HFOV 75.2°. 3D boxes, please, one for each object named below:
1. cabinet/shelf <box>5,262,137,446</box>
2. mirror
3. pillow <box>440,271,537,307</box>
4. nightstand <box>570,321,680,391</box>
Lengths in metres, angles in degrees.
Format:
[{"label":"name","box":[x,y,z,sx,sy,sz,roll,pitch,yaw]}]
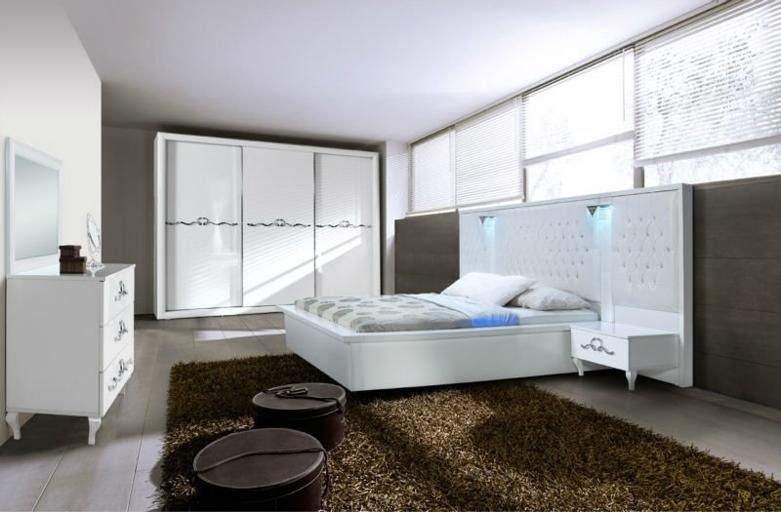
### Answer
[{"label":"cabinet/shelf","box":[-2.196,0.628,3.473,0.643,1.066,0.823,-2,12,-10]},{"label":"mirror","box":[-2.544,-0.356,3.615,0.124,0.923,0.884,-4,12,-16]},{"label":"pillow","box":[1.001,0.322,5.063,0.366,0.129,0.622,-22,10,-29]},{"label":"nightstand","box":[1.976,0.805,4.315,0.566,0.394,0.718,-3,-2,-17]}]
